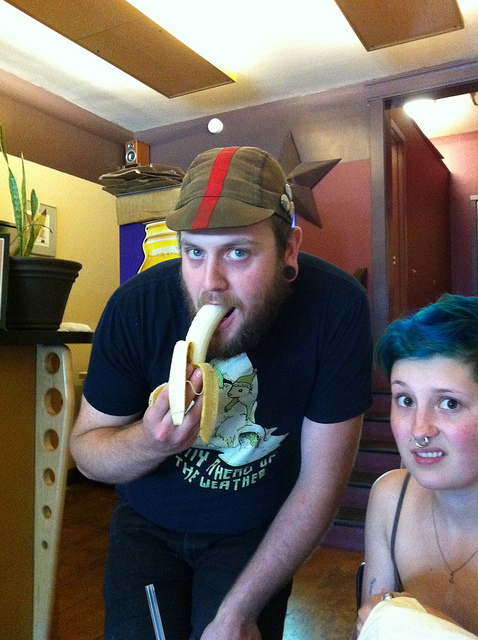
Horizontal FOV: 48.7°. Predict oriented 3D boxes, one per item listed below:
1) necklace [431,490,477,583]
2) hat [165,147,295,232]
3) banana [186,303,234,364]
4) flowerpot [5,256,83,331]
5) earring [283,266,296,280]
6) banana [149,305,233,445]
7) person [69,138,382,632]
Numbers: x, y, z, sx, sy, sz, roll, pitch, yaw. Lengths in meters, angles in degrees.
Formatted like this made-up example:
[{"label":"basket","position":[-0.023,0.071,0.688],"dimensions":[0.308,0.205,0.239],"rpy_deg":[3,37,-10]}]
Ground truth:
[{"label":"necklace","position":[0.405,0.438,1.030],"dimensions":[0.045,0.121,0.093],"rpy_deg":[0,1,-28]},{"label":"hat","position":[-0.006,-0.290,1.157],"dimensions":[0.260,0.172,0.338],"rpy_deg":[2,12,10]},{"label":"banana","position":[-0.044,0.003,1.062],"dimensions":[0.042,0.053,0.194],"rpy_deg":[-3,42,30]},{"label":"flowerpot","position":[-0.553,-0.073,1.485],"dimensions":[0.106,0.210,0.238],"rpy_deg":[1,1,29]},{"label":"earring","position":[0.111,-0.106,1.172],"dimensions":[0.023,0.029,0.057],"rpy_deg":[0,1,11]},{"label":"banana","position":[-0.071,0.088,0.979],"dimensions":[0.108,0.234,0.205],"rpy_deg":[0,1,0]},{"label":"person","position":[-0.069,0.129,1.269],"dimensions":[0.560,1.033,0.580],"rpy_deg":[1,1,44]}]
